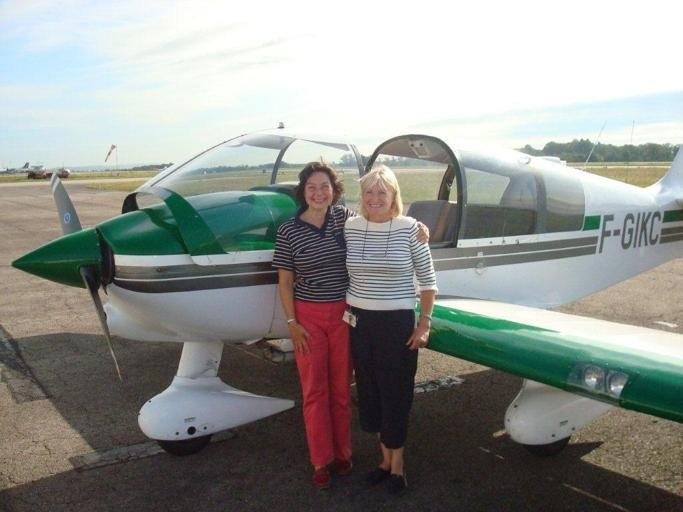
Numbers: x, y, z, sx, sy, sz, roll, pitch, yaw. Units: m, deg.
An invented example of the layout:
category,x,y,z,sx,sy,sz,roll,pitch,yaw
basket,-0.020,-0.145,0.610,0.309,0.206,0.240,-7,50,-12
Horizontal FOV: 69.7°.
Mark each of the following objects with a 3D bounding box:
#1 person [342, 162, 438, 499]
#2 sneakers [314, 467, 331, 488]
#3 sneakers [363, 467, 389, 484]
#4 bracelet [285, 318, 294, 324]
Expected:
category,x,y,z,sx,sy,sz,roll,pitch,yaw
person,0.275,0.319,2.968,0.544,1.679,0.419,19,28,42
sneakers,-0.120,1.378,3.050,0.080,0.048,0.137,2,-4,-4
sneakers,0.220,1.384,3.082,0.151,0.046,0.075,-4,15,-41
bracelet,-0.315,0.399,3.014,0.038,0.013,0.038,0,10,-19
